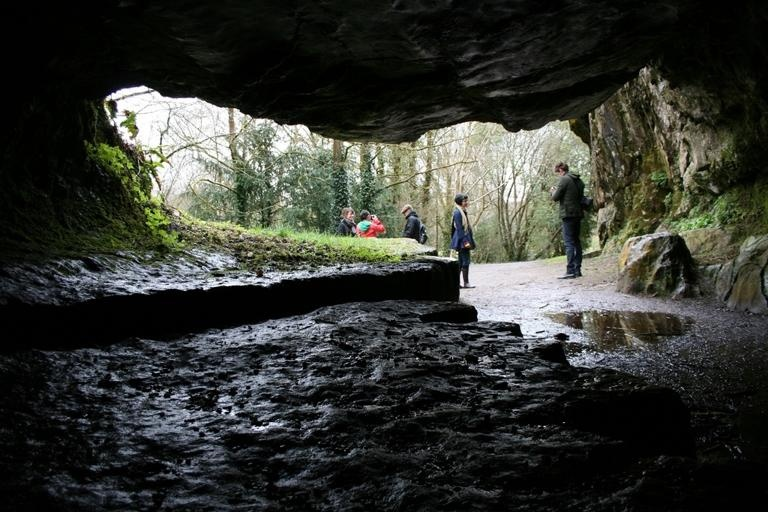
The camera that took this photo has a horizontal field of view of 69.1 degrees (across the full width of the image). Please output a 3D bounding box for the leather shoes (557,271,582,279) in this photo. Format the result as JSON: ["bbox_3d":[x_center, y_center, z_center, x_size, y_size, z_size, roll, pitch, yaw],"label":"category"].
[{"bbox_3d":[3.647,0.388,10.990,0.468,0.165,0.167,0,0,14],"label":"leather shoes"}]

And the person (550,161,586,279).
[{"bbox_3d":[3.636,-0.714,11.013,0.583,2.336,0.715,0,3,17],"label":"person"}]

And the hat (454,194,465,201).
[{"bbox_3d":[1.520,-1.168,11.100,0.187,0.107,0.266,-26,3,22],"label":"hat"}]

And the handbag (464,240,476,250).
[{"bbox_3d":[1.690,-0.176,10.992,0.272,0.230,0.150,1,10,2],"label":"handbag"}]

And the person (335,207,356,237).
[{"bbox_3d":[-0.924,-0.870,14.065,0.423,0.733,1.139,-1,3,-2],"label":"person"}]

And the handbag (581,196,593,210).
[{"bbox_3d":[3.887,-1.031,10.717,0.169,0.232,0.263,0,3,23],"label":"handbag"}]

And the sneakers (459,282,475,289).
[{"bbox_3d":[1.643,0.596,10.915,0.287,0.191,0.127,-3,2,-16],"label":"sneakers"}]
